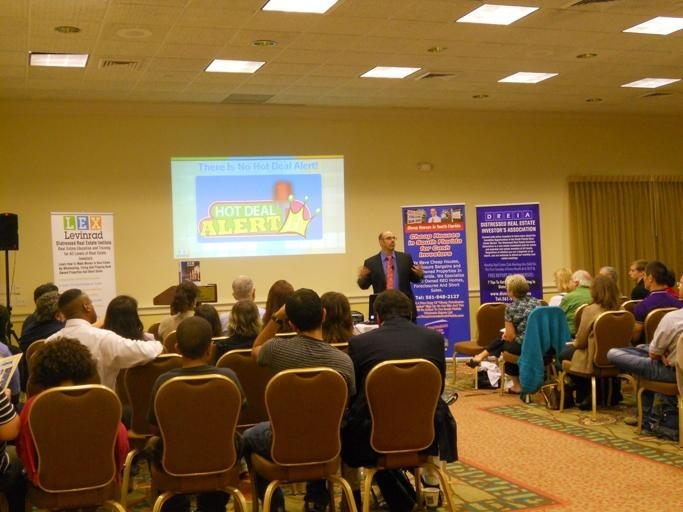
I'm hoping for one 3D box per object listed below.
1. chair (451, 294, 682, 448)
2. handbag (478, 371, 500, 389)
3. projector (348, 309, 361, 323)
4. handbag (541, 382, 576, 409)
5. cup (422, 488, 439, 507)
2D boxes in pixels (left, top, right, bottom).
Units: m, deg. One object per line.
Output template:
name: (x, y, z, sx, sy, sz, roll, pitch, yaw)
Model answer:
chair: (2.635, 1.142, 5.504, 0.934, 1.126, 1.677, 0, 0, -10)
handbag: (1.981, 1.654, 7.237, 0.265, 0.283, 0.174, -3, -4, 18)
projector: (0.240, 0.975, 8.666, 0.324, 0.180, 0.452, 0, -3, -4)
handbag: (2.474, 1.578, 6.191, 0.238, 0.301, 0.301, 0, 1, -4)
cup: (0.616, 1.631, 3.699, 0.121, 0.116, 0.120, -5, -15, -1)
